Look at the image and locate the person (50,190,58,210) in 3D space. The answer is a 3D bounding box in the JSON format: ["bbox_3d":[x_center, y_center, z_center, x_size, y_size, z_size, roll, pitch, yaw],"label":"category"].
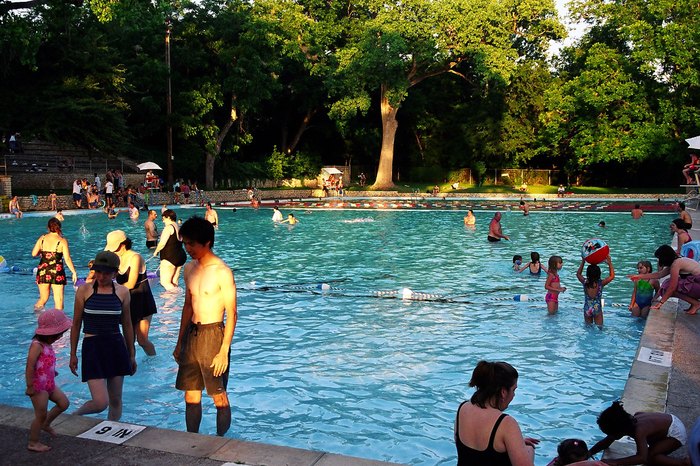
[{"bbox_3d":[-17.965,-1.953,34.228,0.481,1.010,1.641,-5,10,-27],"label":"person"}]

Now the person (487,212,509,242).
[{"bbox_3d":[6.232,-0.378,23.781,0.739,1.270,3.088,2,9,15],"label":"person"}]

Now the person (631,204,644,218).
[{"bbox_3d":[15.882,-1.203,31.231,0.458,0.826,1.698,5,10,26],"label":"person"}]

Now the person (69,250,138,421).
[{"bbox_3d":[-3.458,1.487,7.869,0.825,2.476,0.476,-4,11,-23],"label":"person"}]

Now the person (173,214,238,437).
[{"bbox_3d":[-1.927,1.408,7.520,0.811,3.258,0.887,-3,10,-17],"label":"person"}]

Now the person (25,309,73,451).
[{"bbox_3d":[-3.833,1.791,7.121,0.491,1.548,0.949,-2,10,-13],"label":"person"}]

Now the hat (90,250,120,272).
[{"bbox_3d":[-3.372,0.397,7.780,0.340,0.295,0.297,-3,10,-17],"label":"hat"}]

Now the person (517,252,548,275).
[{"bbox_3d":[5.684,0.921,17.350,0.891,0.362,0.706,-4,9,-35],"label":"person"}]

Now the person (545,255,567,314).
[{"bbox_3d":[5.103,1.330,14.009,0.526,1.738,0.537,-9,28,4],"label":"person"}]

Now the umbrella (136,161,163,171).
[{"bbox_3d":[-15.968,-5.378,45.025,1.684,0.655,1.547,1,3,12],"label":"umbrella"}]
